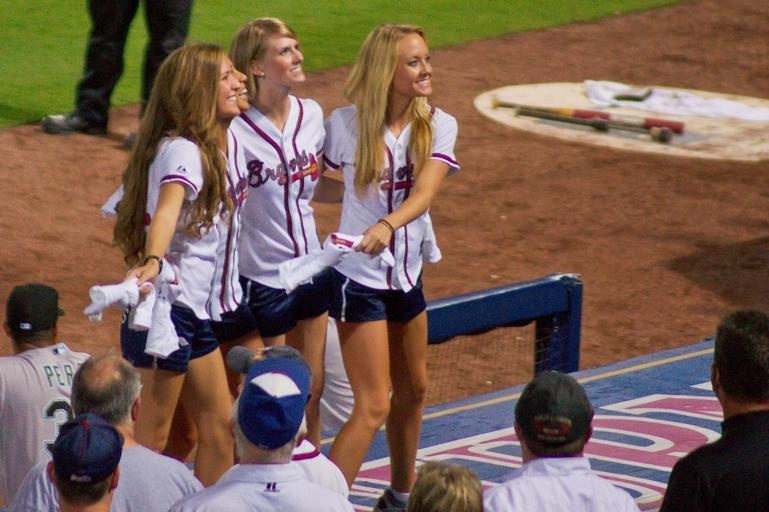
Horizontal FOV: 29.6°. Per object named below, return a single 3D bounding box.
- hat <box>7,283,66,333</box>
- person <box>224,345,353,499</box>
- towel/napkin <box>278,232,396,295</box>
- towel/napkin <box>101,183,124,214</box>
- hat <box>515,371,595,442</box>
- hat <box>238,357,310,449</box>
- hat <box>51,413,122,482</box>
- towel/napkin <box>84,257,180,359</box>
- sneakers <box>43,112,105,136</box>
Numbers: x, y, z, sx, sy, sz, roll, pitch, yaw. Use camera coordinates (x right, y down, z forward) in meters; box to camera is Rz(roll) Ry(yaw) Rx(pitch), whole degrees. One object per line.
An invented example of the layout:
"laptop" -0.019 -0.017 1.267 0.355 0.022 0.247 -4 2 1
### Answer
"hat" -2.284 0.332 9.571 0.313 0.179 0.369 3 22 2
"person" -0.540 1.049 8.759 0.726 0.955 0.309 10 30 25
"towel/napkin" -0.314 0.070 9.710 0.666 0.375 0.294 -30 -20 -10
"towel/napkin" -1.780 -0.380 9.640 0.165 0.200 0.079 20 -4 -20
"hat" 1.039 0.895 8.731 0.403 0.217 0.465 4 17 10
"hat" -0.639 0.870 8.513 0.441 0.493 0.182 10 -18 -3
"hat" -1.734 1.151 8.503 0.376 0.181 0.394 1 48 -9
"towel/napkin" -1.656 0.330 9.311 0.754 0.568 0.319 -8 20 -32
"sneakers" -3.370 -1.429 16.000 0.735 0.255 0.252 9 13 -23
